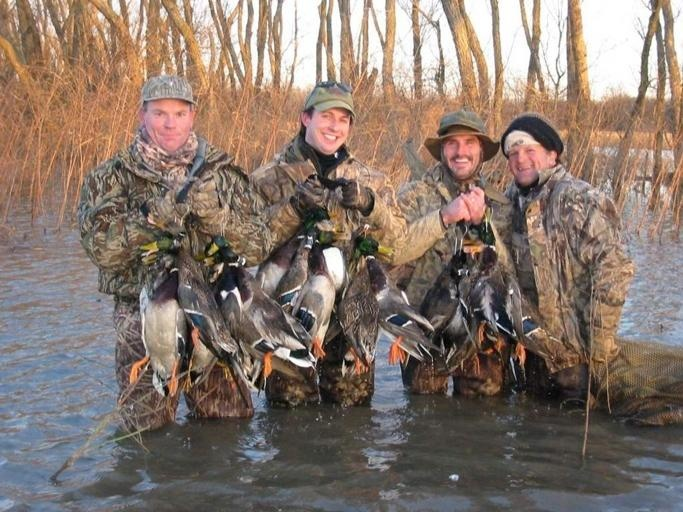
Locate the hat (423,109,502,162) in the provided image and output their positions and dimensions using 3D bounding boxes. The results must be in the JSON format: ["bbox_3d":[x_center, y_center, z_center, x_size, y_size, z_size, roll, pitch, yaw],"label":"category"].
[{"bbox_3d":[1.154,-1.149,7.338,0.558,0.298,0.545,12,-25,-6],"label":"hat"}]

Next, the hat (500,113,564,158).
[{"bbox_3d":[1.785,-1.130,7.107,0.398,0.475,0.227,-12,28,22],"label":"hat"}]

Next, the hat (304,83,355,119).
[{"bbox_3d":[-0.085,-1.422,6.943,0.441,0.301,0.594,3,9,-17],"label":"hat"}]
